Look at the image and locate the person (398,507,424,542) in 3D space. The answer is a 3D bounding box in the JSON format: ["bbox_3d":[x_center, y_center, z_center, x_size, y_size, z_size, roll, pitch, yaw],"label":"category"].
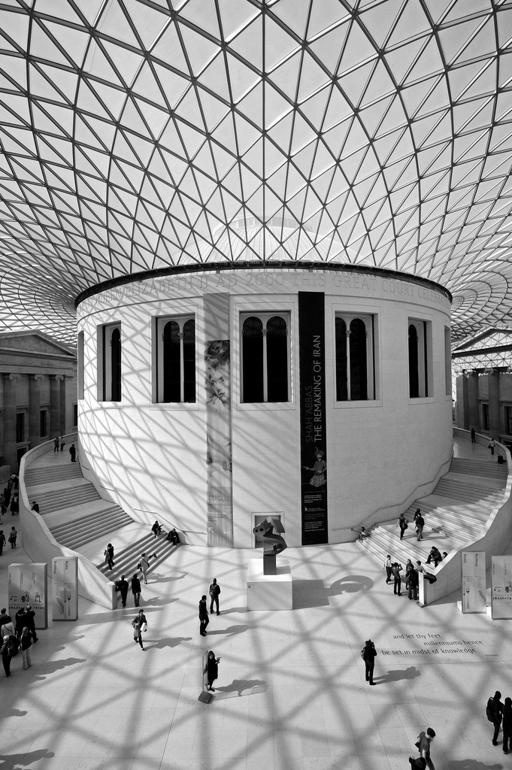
[{"bbox_3d":[7.084,6.384,25.129,0.901,1.420,0.492,-1,-16,12],"label":"person"}]

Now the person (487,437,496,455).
[{"bbox_3d":[16.137,4.227,37.848,0.393,1.553,0.692,7,-7,-13],"label":"person"}]

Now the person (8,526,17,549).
[{"bbox_3d":[-11.796,7.348,26.659,0.331,1.063,1.038,-2,3,-28],"label":"person"}]

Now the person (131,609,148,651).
[{"bbox_3d":[-3.480,7.176,16.440,0.362,1.003,1.132,-1,3,-12],"label":"person"}]

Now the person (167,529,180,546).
[{"bbox_3d":[-3.910,7.194,26.156,0.569,0.705,0.880,0,3,21],"label":"person"}]
